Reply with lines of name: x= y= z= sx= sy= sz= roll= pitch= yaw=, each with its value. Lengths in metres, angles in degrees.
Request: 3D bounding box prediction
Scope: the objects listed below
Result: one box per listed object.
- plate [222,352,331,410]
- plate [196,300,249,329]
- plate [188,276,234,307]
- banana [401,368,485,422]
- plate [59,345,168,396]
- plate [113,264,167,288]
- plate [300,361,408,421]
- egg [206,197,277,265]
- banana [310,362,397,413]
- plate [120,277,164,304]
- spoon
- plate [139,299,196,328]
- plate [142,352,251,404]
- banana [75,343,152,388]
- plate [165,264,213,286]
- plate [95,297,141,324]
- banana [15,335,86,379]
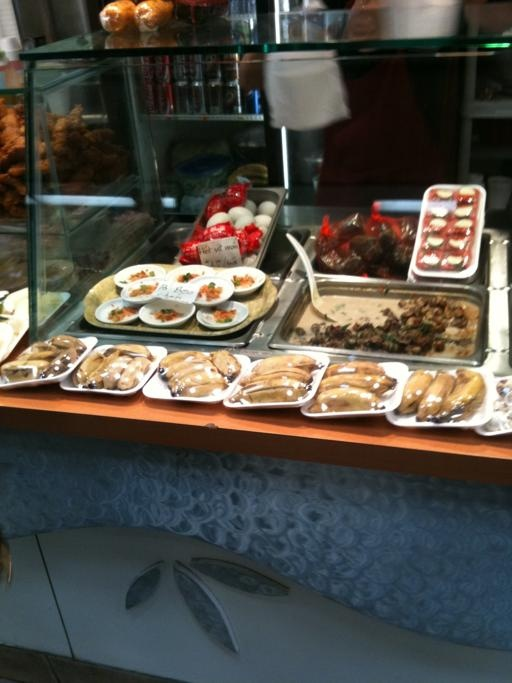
plate: x=0.054 y=0.054 z=0.911 sx=0.121 sy=0.029 sz=0.130 roll=-5 pitch=24 yaw=40
plate: x=-0.067 y=-0.052 z=1.112 sx=0.076 sy=0.016 sz=0.068 roll=-16 pitch=39 yaw=-17
plate: x=-0.100 y=-0.108 z=1.166 sx=0.080 sy=0.026 sz=0.070 roll=4 pitch=41 yaw=7
banana: x=0.282 y=0.081 z=0.818 sx=0.094 sy=0.026 sz=0.091 roll=11 pitch=47 yaw=42
plate: x=-0.268 y=0.050 z=0.981 sx=0.132 sy=0.034 sz=0.115 roll=6 pitch=41 yaw=14
plate: x=-0.272 y=-0.159 z=1.266 sx=0.083 sy=0.015 sz=0.078 roll=-17 pitch=39 yaw=-24
plate: x=0.164 y=0.068 z=0.887 sx=0.160 sy=0.042 sz=0.165 roll=-14 pitch=23 yaw=7
egg: x=-0.021 y=-0.289 z=1.385 sx=0.158 sy=0.082 sz=0.212 roll=12 pitch=31 yaw=25
banana: x=0.144 y=0.054 z=0.833 sx=0.094 sy=0.025 sz=0.095 roll=1 pitch=38 yaw=23
plate: x=-0.252 y=-0.110 z=1.194 sx=0.075 sy=0.017 sz=0.068 roll=-7 pitch=38 yaw=1
spoon: x=0.093 y=-0.157 z=1.168 sx=0.043 sy=0.057 sz=0.345 roll=-2 pitch=38 yaw=-19
plate: x=-0.188 y=-0.056 z=1.135 sx=0.077 sy=0.019 sz=0.077 roll=24 pitch=41 yaw=33
plate: x=-0.103 y=0.065 z=0.945 sx=0.167 sy=0.042 sz=0.158 roll=1 pitch=28 yaw=16
banana: x=-0.263 y=0.045 z=0.980 sx=0.100 sy=0.029 sz=0.088 roll=7 pitch=42 yaw=9
plate: x=-0.156 y=-0.155 z=1.241 sx=0.075 sy=0.016 sz=0.072 roll=14 pitch=35 yaw=24
plate: x=-0.302 y=-0.063 z=1.166 sx=0.076 sy=0.016 sz=0.068 roll=10 pitch=39 yaw=8
banana: x=-0.391 y=0.011 z=1.016 sx=0.082 sy=0.031 sz=0.106 roll=-15 pitch=27 yaw=2
